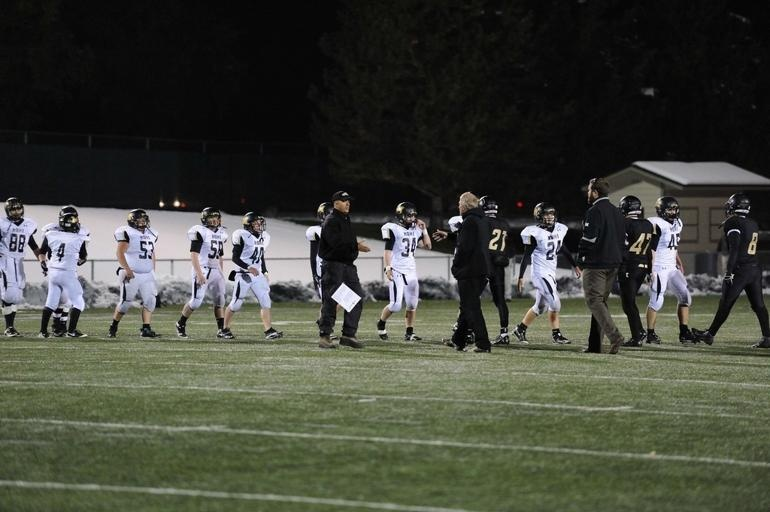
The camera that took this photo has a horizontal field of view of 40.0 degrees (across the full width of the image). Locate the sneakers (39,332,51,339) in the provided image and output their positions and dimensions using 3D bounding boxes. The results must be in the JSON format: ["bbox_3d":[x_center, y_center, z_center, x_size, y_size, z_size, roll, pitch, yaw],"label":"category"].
[{"bbox_3d":[-6.618,1.548,20.531,0.258,0.099,0.098,3,7,3],"label":"sneakers"}]

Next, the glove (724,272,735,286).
[{"bbox_3d":[6.104,0.410,18.783,0.163,0.187,0.053,-1,7,0],"label":"glove"}]

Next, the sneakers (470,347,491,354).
[{"bbox_3d":[1.595,1.597,17.872,0.289,0.110,0.102,4,2,12],"label":"sneakers"}]

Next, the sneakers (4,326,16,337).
[{"bbox_3d":[-7.338,1.488,20.685,0.374,0.146,0.131,1,1,38],"label":"sneakers"}]

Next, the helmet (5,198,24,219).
[{"bbox_3d":[-7.227,-0.922,20.982,0.429,0.485,0.559,-3,3,-30],"label":"helmet"}]

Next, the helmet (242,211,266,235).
[{"bbox_3d":[-2.515,-0.617,20.160,0.447,0.338,0.341,9,4,34],"label":"helmet"}]

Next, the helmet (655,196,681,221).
[{"bbox_3d":[5.266,-0.872,19.921,0.392,0.403,0.500,-9,13,-44],"label":"helmet"}]

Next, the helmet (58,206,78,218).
[{"bbox_3d":[-6.141,-0.847,20.533,0.350,0.302,0.281,-9,10,-19],"label":"helmet"}]

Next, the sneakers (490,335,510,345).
[{"bbox_3d":[2.088,1.542,19.288,0.405,0.155,0.130,0,0,3],"label":"sneakers"}]

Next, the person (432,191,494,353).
[{"bbox_3d":[1.437,0.310,17.889,0.657,2.665,0.850,-1,7,3],"label":"person"}]

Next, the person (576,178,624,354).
[{"bbox_3d":[3.623,0.209,17.797,0.771,2.936,1.143,0,7,12],"label":"person"}]

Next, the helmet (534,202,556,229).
[{"bbox_3d":[3.020,-0.743,20.020,0.431,0.436,0.498,-2,4,-36],"label":"helmet"}]

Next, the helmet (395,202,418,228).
[{"bbox_3d":[0.405,-0.760,19.941,0.364,0.442,0.697,-1,7,0],"label":"helmet"}]

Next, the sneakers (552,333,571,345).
[{"bbox_3d":[3.245,1.514,19.296,0.156,0.171,0.389,0,3,-44],"label":"sneakers"}]

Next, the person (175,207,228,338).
[{"bbox_3d":[-3.483,0.352,20.255,0.873,2.454,1.082,-1,7,-2],"label":"person"}]

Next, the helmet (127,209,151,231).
[{"bbox_3d":[-4.723,-0.669,20.247,0.478,0.412,0.374,-5,19,-19],"label":"helmet"}]

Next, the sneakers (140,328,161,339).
[{"bbox_3d":[-4.535,1.497,20.435,0.503,0.194,0.162,2,0,0],"label":"sneakers"}]

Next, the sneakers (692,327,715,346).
[{"bbox_3d":[5.750,1.457,19.227,0.198,0.233,0.509,8,19,-31],"label":"sneakers"}]

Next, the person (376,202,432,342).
[{"bbox_3d":[0.343,0.337,20.061,0.980,2.648,1.533,-1,7,2],"label":"person"}]

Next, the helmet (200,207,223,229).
[{"bbox_3d":[-3.341,-0.723,20.549,0.456,0.343,0.354,0,1,38],"label":"helmet"}]

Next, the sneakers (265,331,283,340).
[{"bbox_3d":[-2.097,1.506,20.033,0.385,0.183,0.134,-2,9,18],"label":"sneakers"}]

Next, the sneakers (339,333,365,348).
[{"bbox_3d":[-0.607,1.433,18.174,0.525,0.164,0.217,7,-37,-7],"label":"sneakers"}]

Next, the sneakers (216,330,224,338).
[{"bbox_3d":[-3.151,1.504,20.290,0.121,0.146,0.061,0,5,11],"label":"sneakers"}]

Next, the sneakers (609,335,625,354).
[{"bbox_3d":[3.843,1.476,17.557,0.209,0.432,0.168,3,11,6],"label":"sneakers"}]

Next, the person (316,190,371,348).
[{"bbox_3d":[-0.753,0.293,18.006,0.821,2.666,1.119,-2,7,-4],"label":"person"}]

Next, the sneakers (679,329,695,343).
[{"bbox_3d":[5.556,1.517,19.470,0.149,0.181,0.374,-4,-3,-10],"label":"sneakers"}]

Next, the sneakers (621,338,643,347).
[{"bbox_3d":[4.388,1.534,18.726,0.426,0.163,0.139,6,14,18],"label":"sneakers"}]

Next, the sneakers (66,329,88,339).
[{"bbox_3d":[-6.031,1.541,20.761,0.398,0.153,0.150,1,2,1],"label":"sneakers"}]

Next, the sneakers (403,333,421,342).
[{"bbox_3d":[0.503,1.558,19.948,0.343,0.137,0.120,-1,3,13],"label":"sneakers"}]

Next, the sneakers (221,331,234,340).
[{"bbox_3d":[-3.002,1.517,20.227,0.115,0.128,0.303,4,-4,-41],"label":"sneakers"}]

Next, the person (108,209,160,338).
[{"bbox_3d":[-4.738,0.382,20.110,0.835,2.435,0.892,-3,7,-15],"label":"person"}]

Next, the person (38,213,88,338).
[{"bbox_3d":[-6.232,0.348,20.512,0.884,2.544,0.635,0,7,6],"label":"person"}]
